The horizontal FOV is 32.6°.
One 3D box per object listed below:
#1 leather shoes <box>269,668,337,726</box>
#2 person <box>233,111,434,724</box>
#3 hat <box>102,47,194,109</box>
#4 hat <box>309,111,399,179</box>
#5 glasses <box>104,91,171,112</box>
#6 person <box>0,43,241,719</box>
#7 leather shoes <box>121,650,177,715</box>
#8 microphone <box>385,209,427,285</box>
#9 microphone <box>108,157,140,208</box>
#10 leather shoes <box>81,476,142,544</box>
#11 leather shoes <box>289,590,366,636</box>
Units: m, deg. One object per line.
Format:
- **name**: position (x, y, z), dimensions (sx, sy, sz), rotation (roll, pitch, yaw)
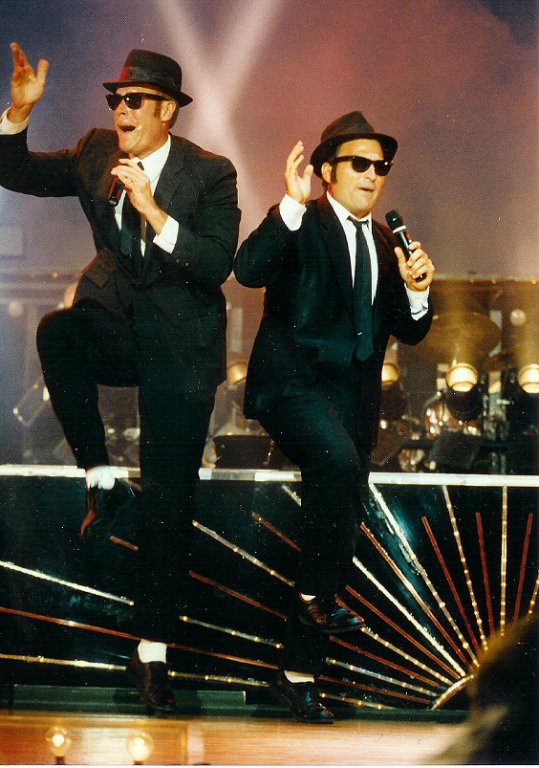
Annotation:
- **leather shoes**: position (0.097, 0.937, 2.792), dimensions (0.221, 0.096, 0.092), rotation (33, 4, 27)
- **person**: position (0.229, 0.078, 2.833), dimensions (0.539, 1.836, 0.388), rotation (-4, 5, -43)
- **hat**: position (-0.363, -0.970, 2.845), dimensions (0.283, 0.086, 0.208), rotation (10, 21, -19)
- **hat**: position (0.228, -0.767, 2.897), dimensions (0.215, 0.078, 0.221), rotation (1, -21, -19)
- **glasses**: position (-0.420, -0.854, 2.769), dimensions (0.105, 0.028, 0.101), rotation (2, 2, 31)
- **person**: position (-0.468, -0.120, 2.771), dimensions (0.715, 1.790, 0.325), rotation (0, 3, 6)
- **leather shoes**: position (-0.357, 0.892, 2.753), dimensions (0.137, 0.175, 0.083), rotation (-1, 3, -7)
- **microphone**: position (0.429, -0.450, 2.845), dimensions (0.079, 0.279, 0.076), rotation (-23, -14, 10)
- **microphone**: position (-0.447, -0.594, 2.743), dimensions (0.067, 0.069, 0.213), rotation (7, 45, 4)
- **leather shoes**: position (-0.490, 0.355, 2.849), dimensions (0.219, 0.131, 0.307), rotation (11, 9, -11)
- **leather shoes**: position (0.165, 0.694, 2.777), dimensions (0.202, 0.080, 0.110), rotation (-1, -14, 40)
